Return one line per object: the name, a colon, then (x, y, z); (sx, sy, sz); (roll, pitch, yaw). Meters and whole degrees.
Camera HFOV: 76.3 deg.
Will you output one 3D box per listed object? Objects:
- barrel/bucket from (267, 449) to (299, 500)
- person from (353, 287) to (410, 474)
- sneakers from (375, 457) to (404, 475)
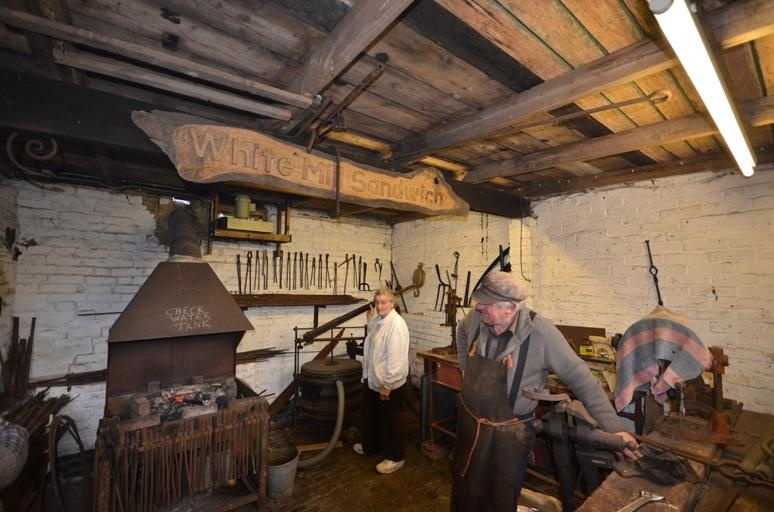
barrel/bucket: (-1.264, 2.514, 5.701); (0.469, 0.318, 0.404); (8, -12, -43)
person: (-0.023, 1.533, 6.265); (0.439, 2.238, 0.757); (1, -6, -38)
sneakers: (0.053, 2.579, 6.044); (0.337, 0.116, 0.127); (9, -15, -24)
